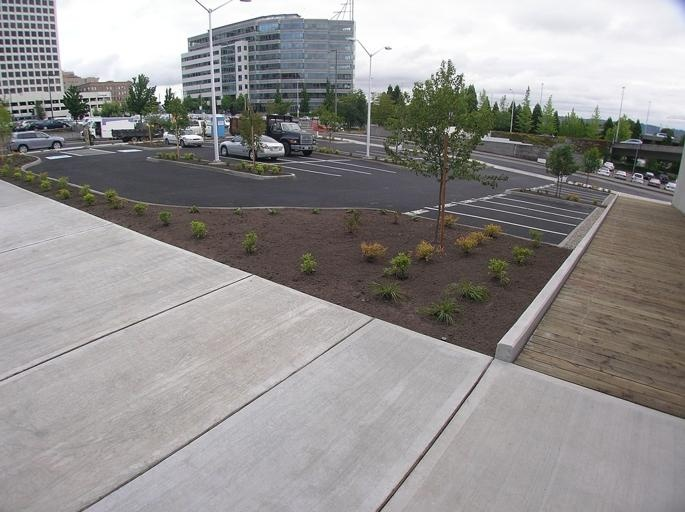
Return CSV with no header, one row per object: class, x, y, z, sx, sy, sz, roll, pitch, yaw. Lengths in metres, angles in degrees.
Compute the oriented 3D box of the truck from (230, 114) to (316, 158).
truck,-5.918,-9.826,36.363,7.911,3.226,2.363,15,18,36
